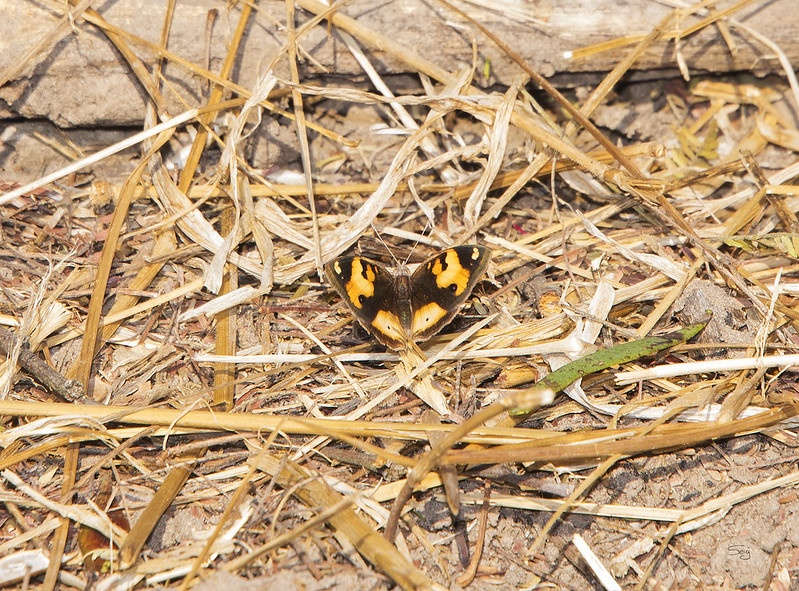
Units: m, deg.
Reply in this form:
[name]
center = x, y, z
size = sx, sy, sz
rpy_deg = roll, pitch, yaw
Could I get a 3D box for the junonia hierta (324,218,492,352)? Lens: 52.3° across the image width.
[junonia hierta]
center = 0.030, -0.071, 3.173
size = 0.542, 0.304, 0.476
rpy_deg = -31, 66, -25
